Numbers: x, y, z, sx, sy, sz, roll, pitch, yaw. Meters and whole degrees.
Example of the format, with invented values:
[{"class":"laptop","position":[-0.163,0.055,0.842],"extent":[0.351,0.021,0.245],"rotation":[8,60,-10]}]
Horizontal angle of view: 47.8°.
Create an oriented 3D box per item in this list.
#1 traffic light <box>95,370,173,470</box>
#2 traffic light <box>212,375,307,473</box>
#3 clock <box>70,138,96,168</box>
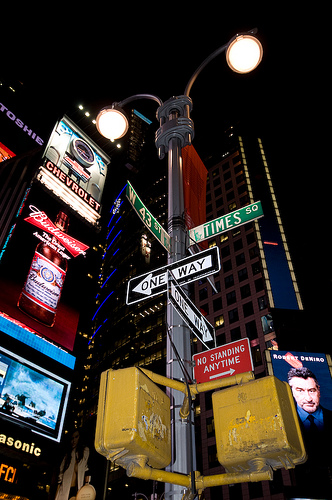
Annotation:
[{"class":"traffic light","position":[-0.234,1.288,2.840],"extent":[0.289,0.804,0.785],"rotation":[-19,-39,23]},{"class":"traffic light","position":[0.680,1.345,2.951],"extent":[0.678,0.691,0.467],"rotation":[-11,-36,15]},{"class":"clock","position":[-6.342,-7.477,28.056],"extent":[0.461,2.052,1.994],"rotation":[-35,-19,32]}]
